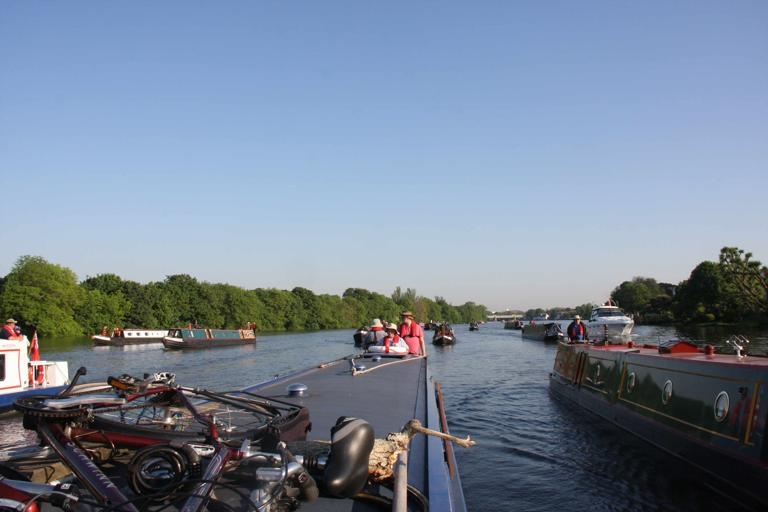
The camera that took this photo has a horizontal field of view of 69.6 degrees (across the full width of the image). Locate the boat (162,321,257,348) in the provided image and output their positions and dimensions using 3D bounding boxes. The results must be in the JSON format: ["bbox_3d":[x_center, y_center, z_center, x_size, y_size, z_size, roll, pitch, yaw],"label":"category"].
[{"bbox_3d":[-16.326,7.588,51.326,3.596,1.820,10.890,-3,-6,15],"label":"boat"}]

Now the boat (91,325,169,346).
[{"bbox_3d":[-24.775,7.890,53.751,2.877,1.603,9.342,-2,-6,0],"label":"boat"}]
